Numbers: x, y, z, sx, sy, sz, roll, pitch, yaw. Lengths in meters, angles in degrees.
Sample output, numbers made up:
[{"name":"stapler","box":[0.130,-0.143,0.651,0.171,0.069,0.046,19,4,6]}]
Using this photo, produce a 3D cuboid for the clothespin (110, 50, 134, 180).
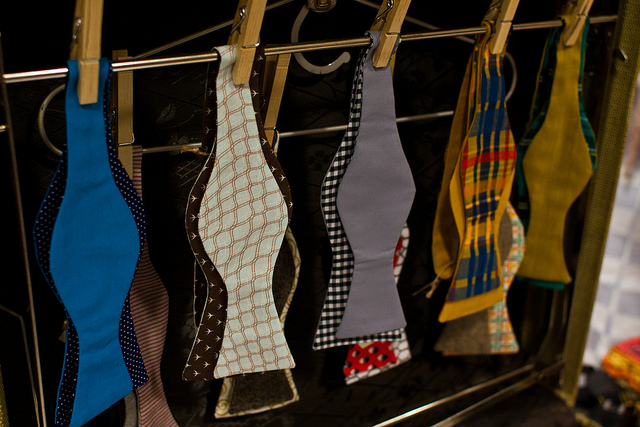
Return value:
[{"name":"clothespin","box":[-0.447,-0.198,1.640,0.057,0.242,0.041,-1,15,6]}]

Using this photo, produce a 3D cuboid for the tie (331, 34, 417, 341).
[{"name":"tie","box":[0.128,-0.054,1.743,0.208,0.735,0.070,-3,15,1]}]

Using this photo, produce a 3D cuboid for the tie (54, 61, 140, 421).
[{"name":"tie","box":[-0.488,0.074,1.566,0.186,0.789,0.057,-7,16,-15]}]

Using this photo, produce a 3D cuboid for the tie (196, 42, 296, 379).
[{"name":"tie","box":[-0.176,0.012,1.675,0.223,0.789,0.054,-5,15,-8]}]

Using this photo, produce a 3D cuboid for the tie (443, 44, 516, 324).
[{"name":"tie","box":[0.414,-0.064,1.859,0.225,0.686,0.066,-15,19,-39]}]
